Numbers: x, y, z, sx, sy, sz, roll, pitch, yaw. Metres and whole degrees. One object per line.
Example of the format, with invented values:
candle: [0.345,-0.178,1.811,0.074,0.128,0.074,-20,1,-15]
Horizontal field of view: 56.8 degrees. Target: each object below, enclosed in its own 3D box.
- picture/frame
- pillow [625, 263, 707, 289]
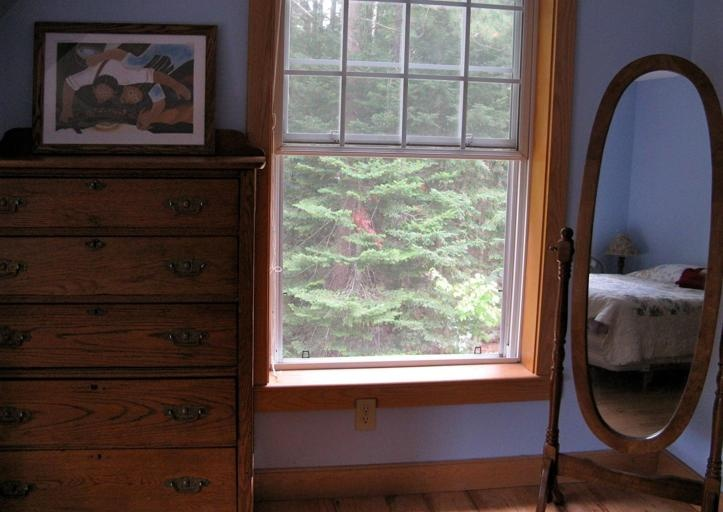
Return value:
picture/frame: [-1.084,-0.751,2.980,0.670,0.476,0.028,1,-1,-5]
pillow: [1.293,0.076,2.842,0.305,0.098,0.047,8,11,43]
